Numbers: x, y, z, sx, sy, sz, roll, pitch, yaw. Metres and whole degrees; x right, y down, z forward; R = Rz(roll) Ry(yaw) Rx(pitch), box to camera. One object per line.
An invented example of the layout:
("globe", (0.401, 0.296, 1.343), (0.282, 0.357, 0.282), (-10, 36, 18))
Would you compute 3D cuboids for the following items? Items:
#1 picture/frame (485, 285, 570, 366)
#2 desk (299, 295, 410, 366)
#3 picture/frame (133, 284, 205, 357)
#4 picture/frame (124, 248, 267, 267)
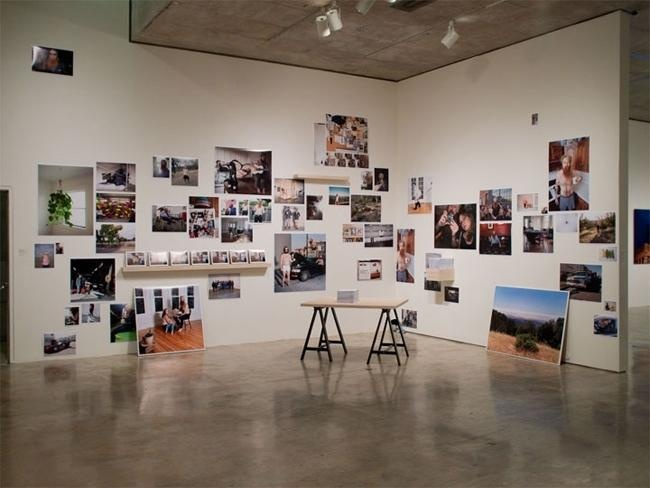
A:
("picture/frame", (3.518, 1.402, 8.278), (0.054, 1.196, 1.246), (12, -7, -37))
("desk", (0.644, 1.438, 9.153), (1.878, 1.125, 2.609), (0, 3, 9))
("picture/frame", (-2.843, 1.388, 8.703), (1.172, 1.277, 0.092), (-1, -8, -30))
("picture/frame", (-2.345, 0.259, 8.957), (2.447, 0.301, 0.225), (-2, 3, -23))
